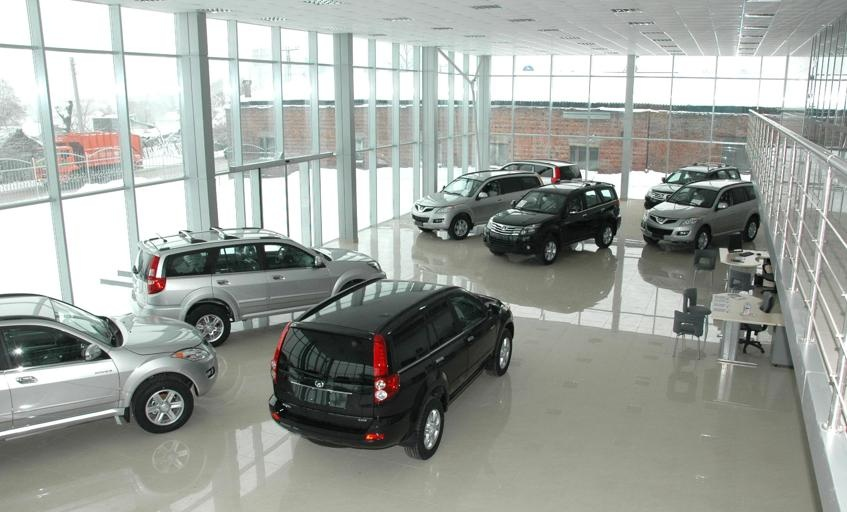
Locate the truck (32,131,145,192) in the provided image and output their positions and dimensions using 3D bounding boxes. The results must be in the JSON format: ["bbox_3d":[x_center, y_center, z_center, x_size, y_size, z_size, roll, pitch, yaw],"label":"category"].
[{"bbox_3d":[-8.301,-2.702,14.108,2.501,1.197,0.809,-3,2,12],"label":"truck"}]

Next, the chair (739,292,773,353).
[{"bbox_3d":[7.538,1.505,12.141,0.781,1.239,0.751,8,8,25],"label":"chair"}]

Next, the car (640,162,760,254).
[{"bbox_3d":[10.228,-1.577,19.233,4.410,1.927,2.341,-8,14,-37],"label":"car"}]

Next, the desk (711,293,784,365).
[{"bbox_3d":[6.888,1.877,11.440,1.518,0.964,2.008,8,20,32],"label":"desk"}]

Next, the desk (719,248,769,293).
[{"bbox_3d":[8.488,0.204,13.993,1.241,0.587,1.991,8,22,36],"label":"desk"}]

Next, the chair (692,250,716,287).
[{"bbox_3d":[8.112,0.303,15.191,0.634,0.843,0.573,-21,24,-41],"label":"chair"}]

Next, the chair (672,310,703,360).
[{"bbox_3d":[5.987,1.685,11.893,0.600,1.125,0.988,5,16,27],"label":"chair"}]
